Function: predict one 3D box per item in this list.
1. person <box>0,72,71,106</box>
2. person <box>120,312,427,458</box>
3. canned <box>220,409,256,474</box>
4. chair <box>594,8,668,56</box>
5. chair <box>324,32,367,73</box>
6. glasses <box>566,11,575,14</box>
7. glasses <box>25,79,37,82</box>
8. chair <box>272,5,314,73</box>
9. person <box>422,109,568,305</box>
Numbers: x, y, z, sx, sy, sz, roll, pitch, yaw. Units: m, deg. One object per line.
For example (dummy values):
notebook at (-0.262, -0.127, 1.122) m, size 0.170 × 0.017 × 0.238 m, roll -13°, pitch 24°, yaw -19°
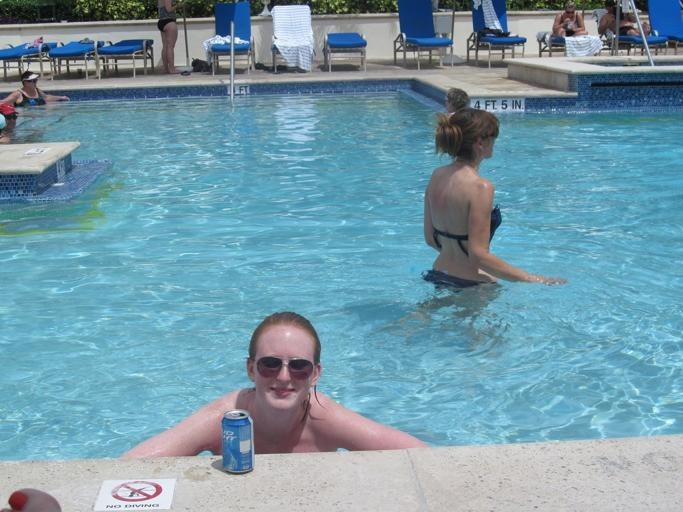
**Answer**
person at (-5.441, -2.968, 12.200) m, size 0.509 × 0.597 × 1.032 m, roll 2°, pitch 8°, yaw 21°
person at (-0.308, 0.606, 3.204) m, size 1.208 × 0.360 × 0.357 m, roll 0°, pitch 5°, yaw -12°
canned at (-0.329, 0.563, 2.145) m, size 0.100 × 0.207 × 0.144 m, roll -3°, pitch 9°, yaw -8°
chair at (6.857, -5.333, 16.187) m, size 1.449 × 1.076 × 1.797 m, roll -6°, pitch 33°, yaw -4°
chair at (0.056, -4.594, 15.526) m, size 1.083 × 0.578 × 1.234 m, roll -4°, pitch 18°, yaw -4°
glasses at (5.337, -5.762, 16.132) m, size 0.196 × 0.069 × 0.134 m, roll 1°, pitch 8°, yaw 13°
glasses at (-5.381, -3.081, 11.958) m, size 0.173 × 0.050 × 0.173 m, roll -7°, pitch 9°, yaw -40°
chair at (-1.118, -4.893, 15.246) m, size 0.891 × 1.556 × 1.022 m, roll -2°, pitch 9°, yaw -4°
person at (0.710, -0.318, 3.935) m, size 0.428 × 1.036 × 0.551 m, roll -7°, pitch 11°, yaw -30°
